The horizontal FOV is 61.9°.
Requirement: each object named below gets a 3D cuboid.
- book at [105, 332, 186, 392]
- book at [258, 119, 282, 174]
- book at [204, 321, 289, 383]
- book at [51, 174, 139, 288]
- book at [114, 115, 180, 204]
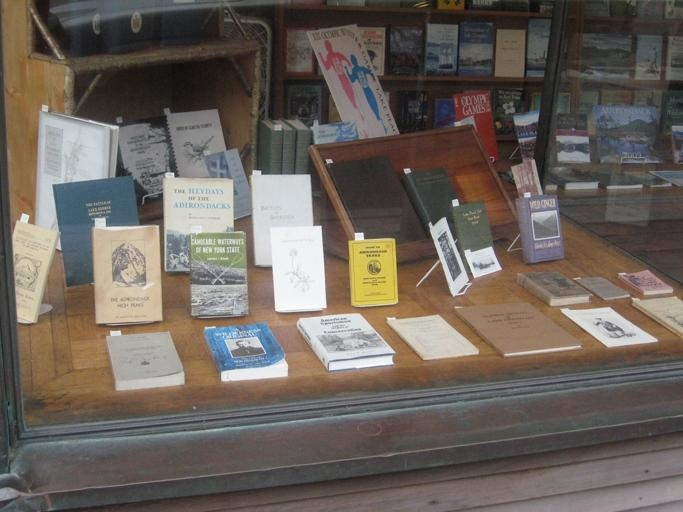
[{"bbox_3d":[-0.750,0.388,2.160,0.268,0.070,0.314,-7,31,-32],"label":"book"},{"bbox_3d":[-0.420,-0.650,3.400,0.156,0.312,0.353,-2,21,-10],"label":"book"},{"bbox_3d":[-0.388,0.369,2.218,0.330,0.056,0.322,9,30,-4],"label":"book"},{"bbox_3d":[-1.139,-0.118,2.613,0.513,0.456,0.125,-16,19,-42],"label":"book"},{"bbox_3d":[-1.215,-0.600,3.561,0.529,0.477,0.146,-19,18,-38],"label":"book"}]
